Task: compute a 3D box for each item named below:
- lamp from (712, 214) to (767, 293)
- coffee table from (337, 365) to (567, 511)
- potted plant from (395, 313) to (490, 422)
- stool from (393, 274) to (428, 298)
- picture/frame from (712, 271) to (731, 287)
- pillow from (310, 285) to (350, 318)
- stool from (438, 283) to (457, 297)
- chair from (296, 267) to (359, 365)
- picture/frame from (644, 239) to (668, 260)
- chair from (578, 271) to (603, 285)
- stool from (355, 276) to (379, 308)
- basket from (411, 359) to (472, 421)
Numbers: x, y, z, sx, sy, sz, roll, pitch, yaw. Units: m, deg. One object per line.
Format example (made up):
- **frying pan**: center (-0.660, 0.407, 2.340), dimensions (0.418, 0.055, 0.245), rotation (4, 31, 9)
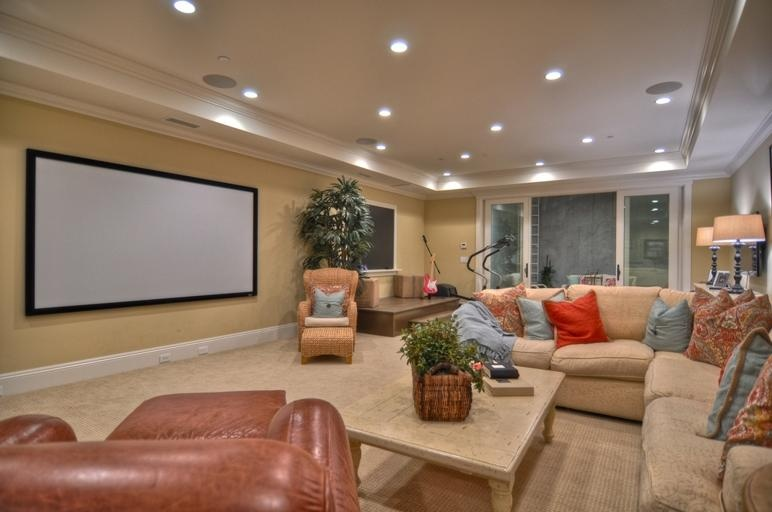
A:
- **lamp**: center (4.334, -0.019, 5.714), dimensions (0.495, 0.882, 1.029), rotation (-1, 0, 39)
- **coffee table**: center (0.379, 0.936, 3.250), dimensions (0.934, 0.420, 1.326), rotation (-5, -3, 29)
- **potted plant**: center (0.462, 0.820, 3.603), dimensions (0.629, 0.737, 0.870), rotation (-2, -5, 13)
- **stool**: center (0.399, 0.581, 8.823), dimensions (0.452, 0.400, 0.450), rotation (1, -2, 10)
- **picture/frame**: center (4.292, 0.302, 5.971), dimensions (0.022, 0.205, 0.158), rotation (16, 1, -42)
- **pillow**: center (-0.706, 0.592, 6.243), dimensions (0.630, 0.340, 0.557), rotation (2, 42, -6)
- **stool**: center (1.166, 0.685, 9.071), dimensions (0.249, 0.210, 0.315), rotation (-7, -8, 28)
- **chair**: center (-0.755, 0.740, 6.054), dimensions (0.768, 1.158, 0.813), rotation (-1, 0, -6)
- **picture/frame**: center (4.524, -0.115, 7.807), dimensions (0.327, 0.303, 0.047), rotation (6, 4, 40)
- **chair**: center (3.825, 0.414, 8.693), dimensions (0.272, 0.162, 0.265), rotation (0, 0, -22)
- **stool**: center (-0.325, 0.574, 7.270), dimensions (0.508, 0.494, 0.276), rotation (1, 1, 26)
- **basket**: center (0.405, 0.980, 3.409), dimensions (0.310, 0.237, 0.439), rotation (0, -3, 6)
